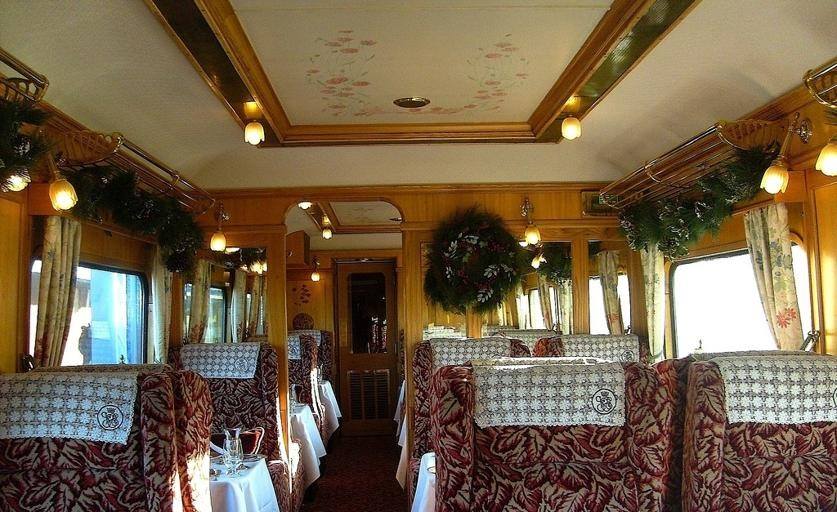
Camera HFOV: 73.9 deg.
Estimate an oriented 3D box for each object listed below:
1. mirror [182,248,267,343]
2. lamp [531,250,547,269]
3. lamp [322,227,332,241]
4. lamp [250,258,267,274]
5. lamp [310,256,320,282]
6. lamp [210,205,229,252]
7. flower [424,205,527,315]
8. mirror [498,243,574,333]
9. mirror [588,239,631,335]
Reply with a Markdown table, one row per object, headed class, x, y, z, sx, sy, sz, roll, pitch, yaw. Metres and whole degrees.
| class | x | y | z | sx | sy | sz | roll | pitch | yaw |
| --- | --- | --- | --- | --- | --- | --- | --- | --- | --- |
| mirror | -2.481 | 0.454 | 7.077 | 1.251 | 1.625 | 0.121 | 1 | 4 | -3 |
| lamp | 1.542 | 0.052 | 7.199 | 0.146 | 0.226 | 0.119 | 0 | -48 | 53 |
| lamp | -1.648 | -0.400 | 9.955 | 0.201 | 0.193 | 0.349 | 0 | -8 | 0 |
| lamp | -2.024 | 0.143 | 7.030 | 0.277 | 0.199 | 0.056 | -12 | -16 | 34 |
| lamp | -2.151 | 0.291 | 11.563 | 0.203 | 0.433 | 0.339 | 0 | -13 | -10 |
| lamp | -2.475 | -0.322 | 6.887 | 0.187 | 0.628 | 0.666 | 2 | -14 | -19 |
| flower | 0.674 | 0.119 | 6.947 | 1.329 | 1.368 | 0.495 | -1 | 0 | 1 |
| mirror | 1.680 | 0.424 | 7.476 | 0.871 | 1.186 | 0.325 | 3 | -6 | -8 |
| mirror | 2.478 | 0.420 | 7.313 | 0.483 | 1.191 | 0.312 | -3 | -13 | 3 |
